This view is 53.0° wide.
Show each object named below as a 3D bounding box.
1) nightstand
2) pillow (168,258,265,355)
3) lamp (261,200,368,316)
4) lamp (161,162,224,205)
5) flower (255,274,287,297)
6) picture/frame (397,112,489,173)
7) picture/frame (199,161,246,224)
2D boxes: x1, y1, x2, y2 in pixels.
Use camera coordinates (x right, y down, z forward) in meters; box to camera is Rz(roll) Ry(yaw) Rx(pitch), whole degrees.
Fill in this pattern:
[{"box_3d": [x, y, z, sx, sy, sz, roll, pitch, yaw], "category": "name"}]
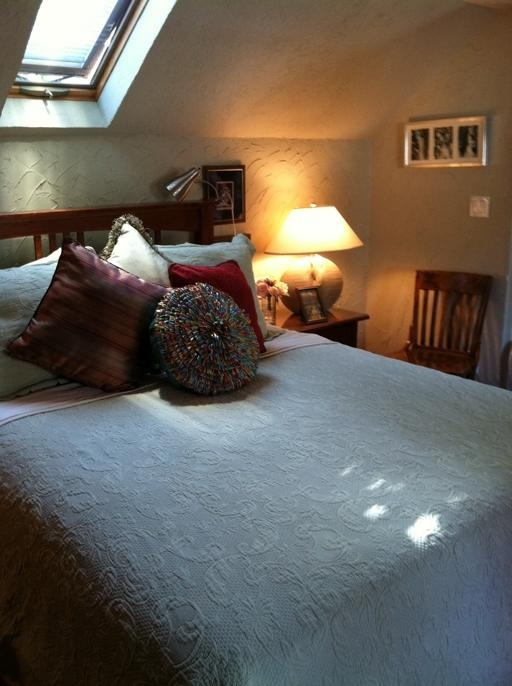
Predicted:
[{"box_3d": [0.348, -0.126, 2.993, 0.284, 0.368, 0.423, 16, 23, 40], "category": "nightstand"}, {"box_3d": [-0.207, -0.165, 2.019, 0.311, 0.309, 0.127, 0, 4, 21], "category": "pillow"}, {"box_3d": [0.382, -0.521, 3.119, 0.522, 0.525, 0.515, -4, 21, -13], "category": "lamp"}, {"box_3d": [-0.306, -0.850, 2.741, 0.371, 0.265, 0.139, -11, 40, -24], "category": "lamp"}, {"box_3d": [0.084, -0.301, 2.769, 0.124, 0.115, 0.072, 11, -31, -8], "category": "flower"}, {"box_3d": [1.127, -1.196, 3.091, 0.042, 0.263, 0.554, -23, 28, -29], "category": "picture/frame"}, {"box_3d": [-0.208, -0.864, 2.925, 0.035, 0.403, 0.410, 12, 17, 41], "category": "picture/frame"}]
